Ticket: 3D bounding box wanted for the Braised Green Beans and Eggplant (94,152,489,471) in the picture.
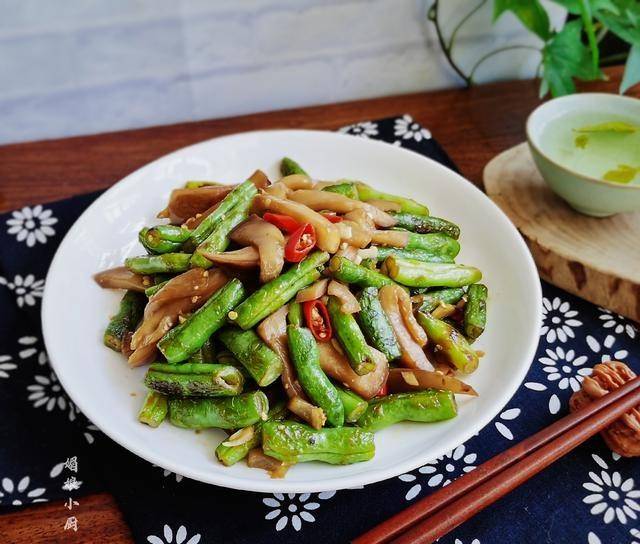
[{"bbox_3d":[-0.138,0.127,2.488,1.570,0.469,1.344,0,55,-10],"label":"Braised Green Beans and Eggplant"}]
